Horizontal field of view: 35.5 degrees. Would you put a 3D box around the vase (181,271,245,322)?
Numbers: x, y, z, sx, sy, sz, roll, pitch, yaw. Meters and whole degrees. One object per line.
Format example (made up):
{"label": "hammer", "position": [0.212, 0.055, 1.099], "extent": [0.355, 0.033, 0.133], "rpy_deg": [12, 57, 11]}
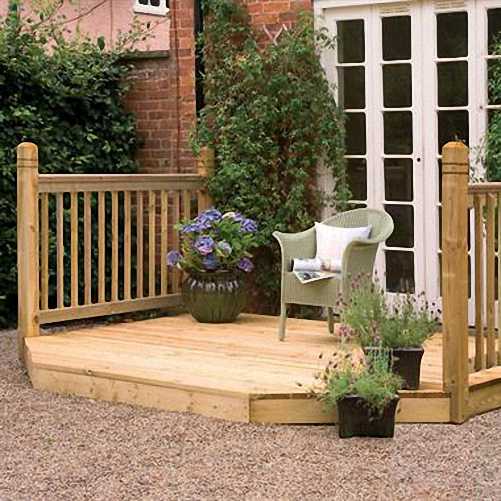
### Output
{"label": "vase", "position": [-0.261, 0.327, 5.825], "extent": [0.489, 0.410, 0.494], "rpy_deg": [-2, 3, -14]}

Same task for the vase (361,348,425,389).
{"label": "vase", "position": [0.681, 0.517, 3.747], "extent": [0.207, 0.205, 0.261], "rpy_deg": [0, 1, 37]}

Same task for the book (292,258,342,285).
{"label": "book", "position": [0.415, 0.127, 4.975], "extent": [0.309, 0.130, 0.361], "rpy_deg": [0, 10, 6]}

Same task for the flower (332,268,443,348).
{"label": "flower", "position": [0.641, 0.335, 4.029], "extent": [0.560, 0.435, 0.554], "rpy_deg": [2, 3, -33]}

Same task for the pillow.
{"label": "pillow", "position": [0.584, -0.008, 4.991], "extent": [0.300, 0.322, 0.106], "rpy_deg": [3, -23, 10]}

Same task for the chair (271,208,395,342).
{"label": "chair", "position": [0.553, 0.116, 5.056], "extent": [0.704, 0.868, 0.749], "rpy_deg": [-1, 3, -25]}

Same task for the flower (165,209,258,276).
{"label": "flower", "position": [-0.267, -0.065, 5.712], "extent": [0.680, 0.488, 0.495], "rpy_deg": [-2, 10, -7]}

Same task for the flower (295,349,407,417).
{"label": "flower", "position": [0.468, 0.602, 3.527], "extent": [0.327, 0.169, 0.363], "rpy_deg": [1, 0, 19]}

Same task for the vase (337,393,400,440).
{"label": "vase", "position": [0.517, 0.749, 3.463], "extent": [0.210, 0.145, 0.221], "rpy_deg": [1, 3, 6]}
